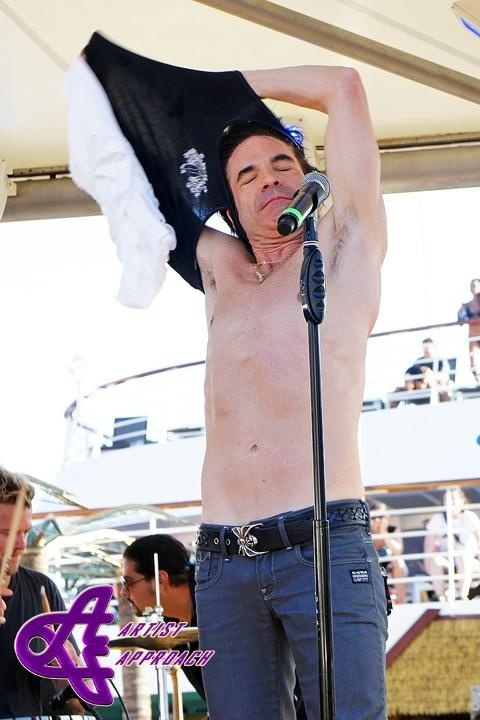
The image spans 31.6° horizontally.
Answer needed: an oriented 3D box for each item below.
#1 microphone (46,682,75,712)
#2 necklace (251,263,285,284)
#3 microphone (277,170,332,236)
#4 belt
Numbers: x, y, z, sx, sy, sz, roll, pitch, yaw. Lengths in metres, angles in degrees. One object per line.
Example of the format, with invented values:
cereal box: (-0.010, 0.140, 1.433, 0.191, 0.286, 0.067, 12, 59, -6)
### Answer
microphone: (-0.613, 1.176, 2.921, 0.049, 0.092, 0.144, 27, -27, -30)
necklace: (0.067, -0.206, 2.016, 0.071, 0.025, 0.037, -28, 46, -22)
microphone: (0.119, -0.284, 1.574, 0.136, 0.125, 0.110, 3, 6, 3)
belt: (0.078, 0.343, 1.703, 0.358, 0.109, 0.148, -2, -7, 5)
